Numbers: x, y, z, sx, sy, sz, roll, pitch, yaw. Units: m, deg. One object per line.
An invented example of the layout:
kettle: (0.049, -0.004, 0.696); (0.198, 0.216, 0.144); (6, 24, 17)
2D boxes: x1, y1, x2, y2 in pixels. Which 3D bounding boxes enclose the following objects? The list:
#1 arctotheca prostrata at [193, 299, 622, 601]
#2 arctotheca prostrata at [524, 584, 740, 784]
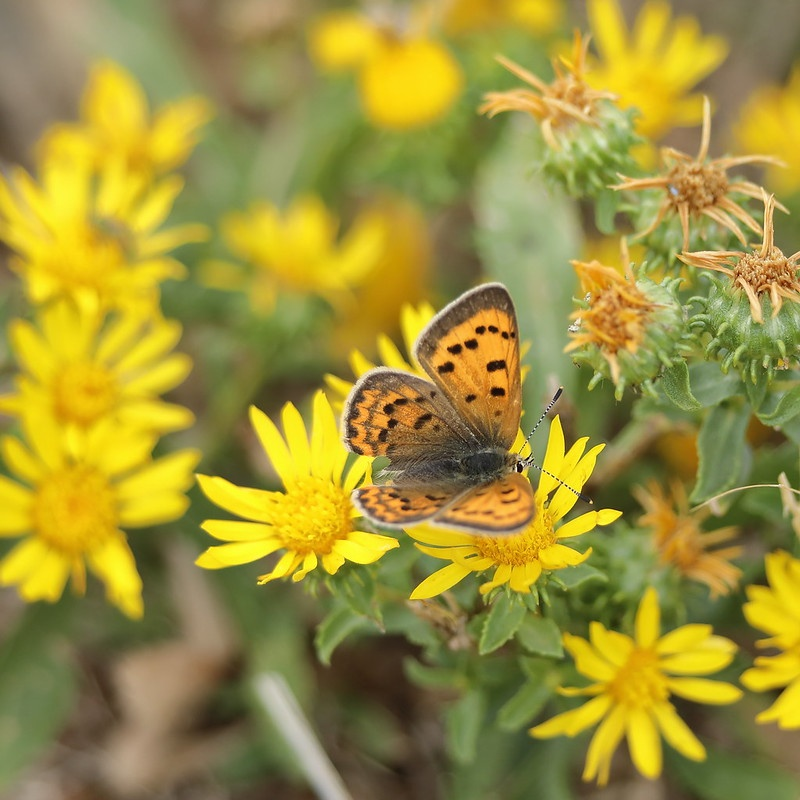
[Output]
arctotheca prostrata: (0.009, 0.091, 1.405); (0.541, 0.182, 0.453); (7, 43, 6)
arctotheca prostrata: (0.429, 0.529, 1.587); (0.357, 0.124, 0.328); (-41, 76, -8)
